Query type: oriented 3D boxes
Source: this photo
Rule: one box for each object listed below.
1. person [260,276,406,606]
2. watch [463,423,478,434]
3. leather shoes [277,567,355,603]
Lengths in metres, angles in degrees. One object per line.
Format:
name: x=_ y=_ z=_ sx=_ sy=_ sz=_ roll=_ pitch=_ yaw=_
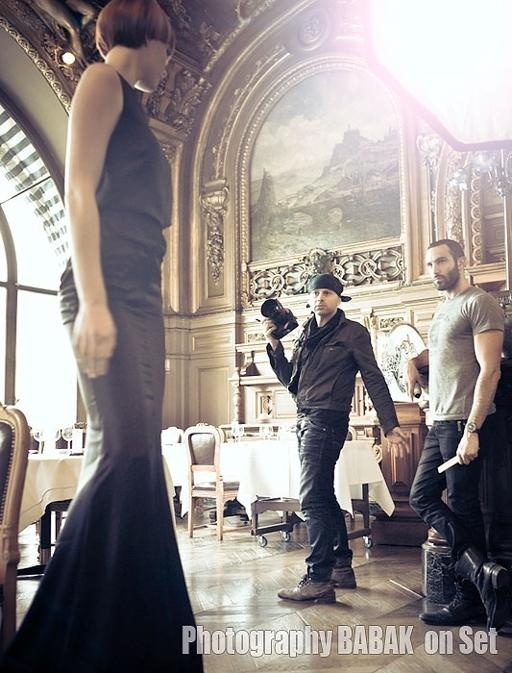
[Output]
person: x=0.384 y=0.421 z=2.841 sx=0.749 sy=1.475 sz=0.372 roll=-8 pitch=-8 yaw=37
watch: x=0.774 y=0.331 z=2.253 sx=0.049 sy=0.029 sz=0.047 roll=10 pitch=11 yaw=38
leather shoes: x=0.321 y=1.130 z=2.826 sx=0.435 sy=0.174 sz=0.146 roll=0 pitch=-12 yaw=2
